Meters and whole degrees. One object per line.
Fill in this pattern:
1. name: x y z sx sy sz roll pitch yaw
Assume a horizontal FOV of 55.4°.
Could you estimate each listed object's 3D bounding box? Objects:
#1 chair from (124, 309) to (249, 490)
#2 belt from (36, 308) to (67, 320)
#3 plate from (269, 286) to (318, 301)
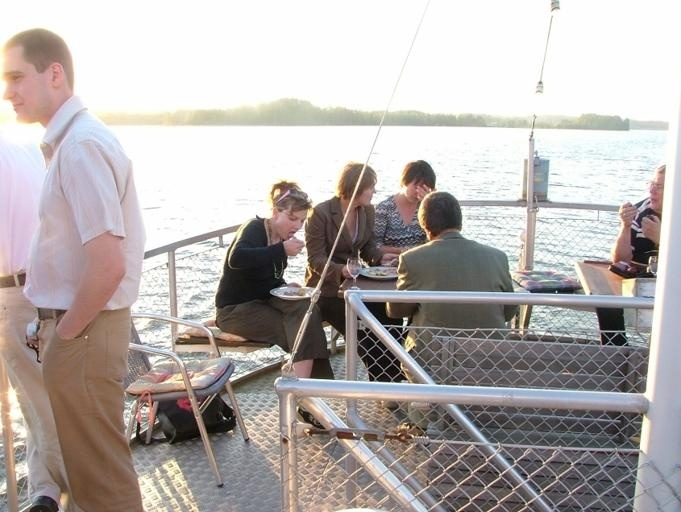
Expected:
1. chair: -0.982 0.777 3.865 0.731 0.927 0.629 0 9 10
2. belt: -1.256 0.252 2.798 0.105 0.072 0.059 3 3 3
3. plate: -0.326 0.259 4.399 0.293 0.082 0.353 0 11 -6
